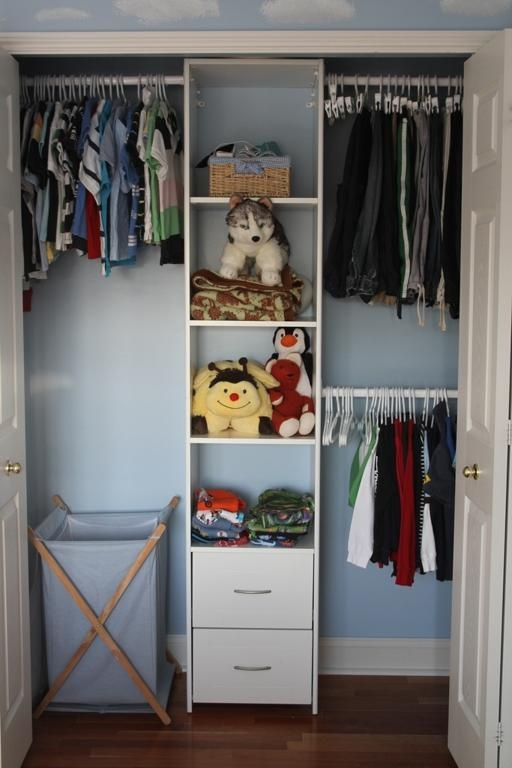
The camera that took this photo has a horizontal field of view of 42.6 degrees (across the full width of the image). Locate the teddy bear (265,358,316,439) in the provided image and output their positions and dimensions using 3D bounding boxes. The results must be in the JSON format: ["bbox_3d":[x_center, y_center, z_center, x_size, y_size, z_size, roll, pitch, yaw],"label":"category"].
[{"bbox_3d":[0.113,0.041,2.310,0.124,0.290,0.209,-5,8,-14],"label":"teddy bear"}]

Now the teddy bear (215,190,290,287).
[{"bbox_3d":[-0.013,-0.468,2.184,0.170,0.294,0.306,2,44,3],"label":"teddy bear"}]

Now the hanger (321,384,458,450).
[{"bbox_3d":[0.470,0.125,2.408,0.470,0.250,0.382,1,4,6],"label":"hanger"}]

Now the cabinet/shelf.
[{"bbox_3d":[-0.008,0.033,2.306,0.475,2.205,0.487,0,3,3],"label":"cabinet/shelf"}]

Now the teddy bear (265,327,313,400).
[{"bbox_3d":[0.111,-0.064,2.373,0.177,0.326,0.174,0,-5,-28],"label":"teddy bear"}]
